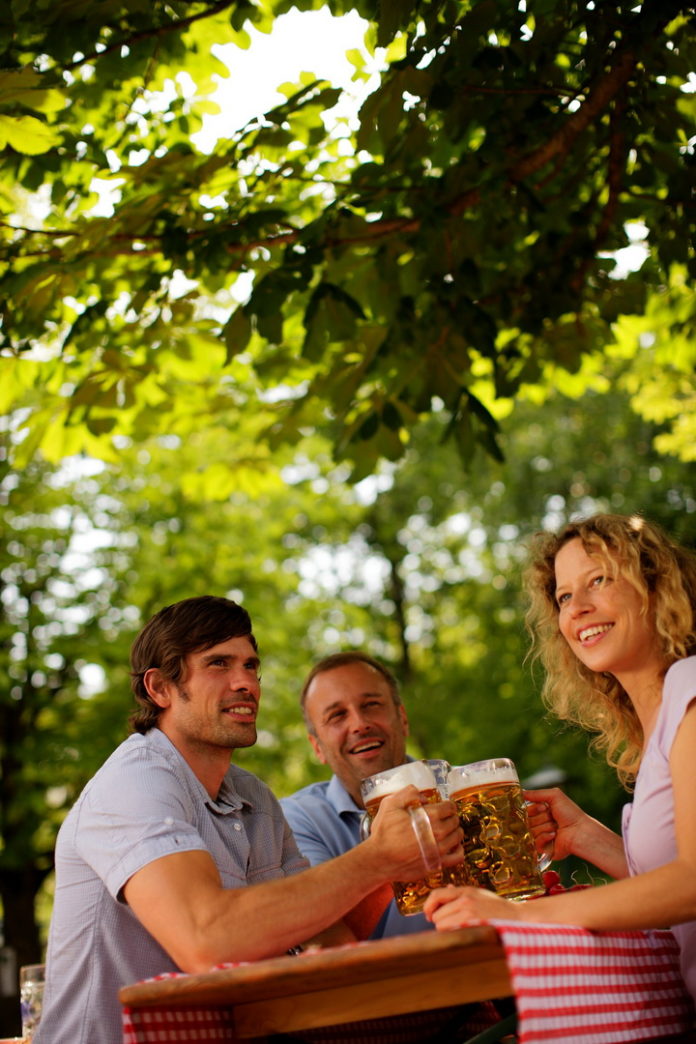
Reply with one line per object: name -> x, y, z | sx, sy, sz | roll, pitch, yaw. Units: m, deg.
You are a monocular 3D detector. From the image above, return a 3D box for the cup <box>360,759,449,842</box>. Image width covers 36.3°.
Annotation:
cup -> 0.079, 0.553, 2.147 | 0.149, 0.178, 0.219 | -6, -22, 29

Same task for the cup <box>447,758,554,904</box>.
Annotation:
cup -> 0.278, 0.593, 1.994 | 0.146, 0.192, 0.308 | -16, -9, 3
